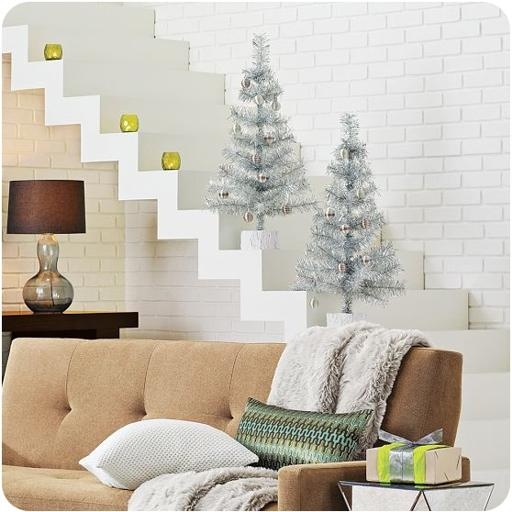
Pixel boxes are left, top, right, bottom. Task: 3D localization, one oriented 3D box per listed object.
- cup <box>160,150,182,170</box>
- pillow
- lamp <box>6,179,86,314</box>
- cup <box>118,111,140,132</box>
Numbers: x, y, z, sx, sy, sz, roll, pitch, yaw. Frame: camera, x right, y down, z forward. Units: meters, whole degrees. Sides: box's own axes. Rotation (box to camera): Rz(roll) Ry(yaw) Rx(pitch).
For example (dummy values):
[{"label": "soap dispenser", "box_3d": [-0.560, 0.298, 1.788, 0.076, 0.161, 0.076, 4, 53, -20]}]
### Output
[{"label": "cup", "box_3d": [-0.426, -0.479, 4.004, 0.111, 0.074, 0.100, 0, -4, -8]}, {"label": "pillow", "box_3d": [-0.095, 0.536, 2.182, 0.778, 0.283, 0.377, 4, -5, -8]}, {"label": "lamp", "box_3d": [-1.087, -0.048, 4.080, 0.376, 0.691, 0.337, 3, -5, 16]}, {"label": "cup", "box_3d": [-0.651, -0.691, 4.091, 0.109, 0.089, 0.106, -1, 3, 0]}]
